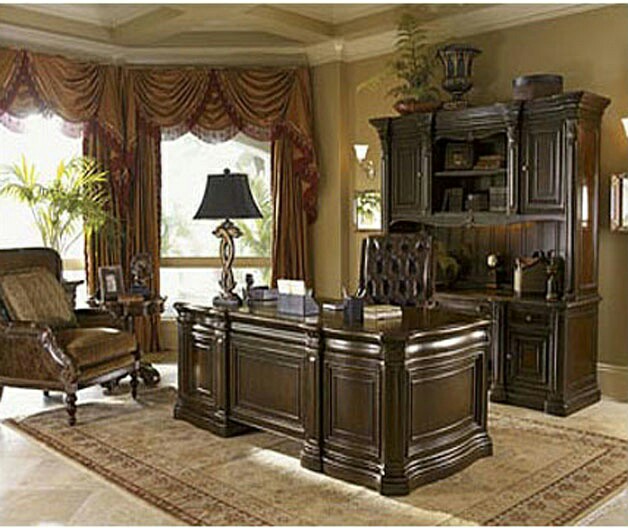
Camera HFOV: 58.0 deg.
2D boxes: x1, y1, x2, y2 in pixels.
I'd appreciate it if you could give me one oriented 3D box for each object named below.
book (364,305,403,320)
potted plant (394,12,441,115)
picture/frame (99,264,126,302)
[{"bbox_3d":[0.439,0.309,3.636,0.224,0.081,0.139,-3,5,-35],"label":"book"},{"bbox_3d":[1.066,-2.073,5.934,0.558,1.136,0.538,12,19,38],"label":"potted plant"},{"bbox_3d":[-2.035,0.191,5.635,0.037,0.497,0.344,1,4,40],"label":"picture/frame"}]
